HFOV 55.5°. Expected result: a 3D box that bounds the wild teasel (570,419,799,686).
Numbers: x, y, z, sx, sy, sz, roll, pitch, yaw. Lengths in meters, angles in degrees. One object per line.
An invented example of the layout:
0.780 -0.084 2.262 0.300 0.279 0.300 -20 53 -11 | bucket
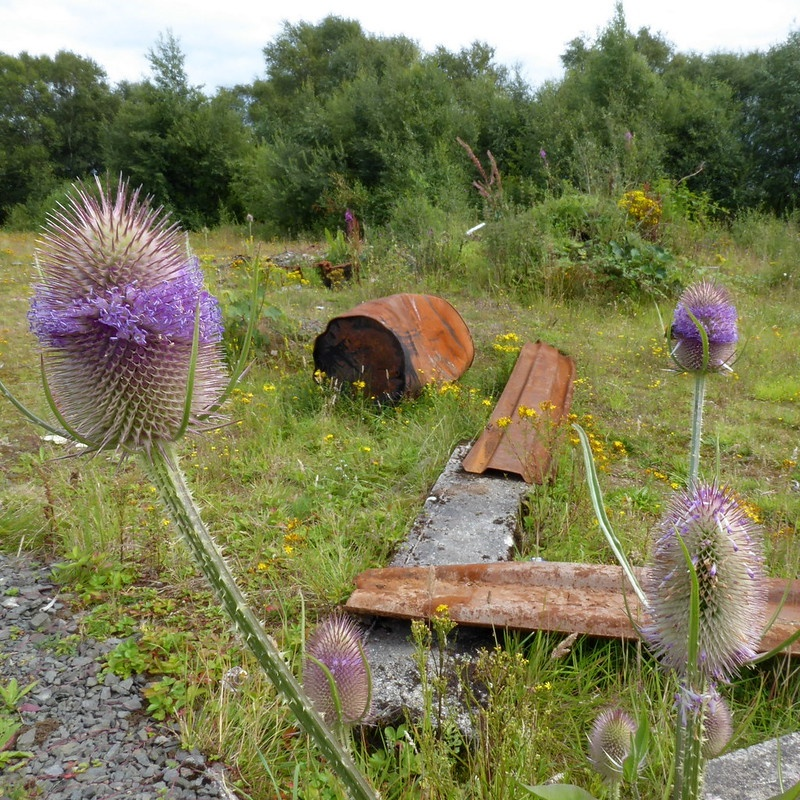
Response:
0.590 0.277 1.697 0.540 0.480 0.597 5 11 42 | wild teasel

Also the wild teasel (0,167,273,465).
-0.722 -0.209 2.000 0.580 0.722 0.564 1 12 -13 | wild teasel
